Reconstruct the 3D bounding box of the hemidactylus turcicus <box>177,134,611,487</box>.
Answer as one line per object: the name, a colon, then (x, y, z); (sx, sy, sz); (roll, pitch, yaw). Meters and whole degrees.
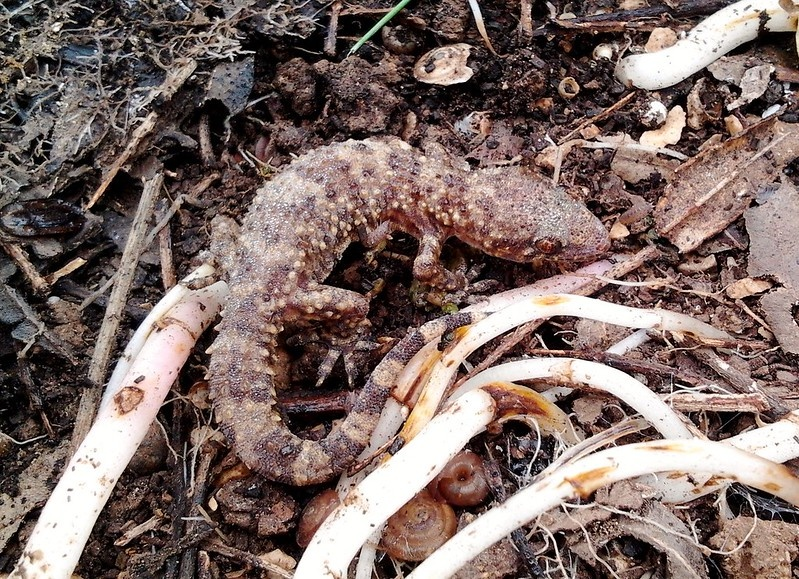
hemidactylus turcicus: (-0.146, -0.214, 4.345); (2.450, 0.675, 1.739); (-25, 78, 3)
